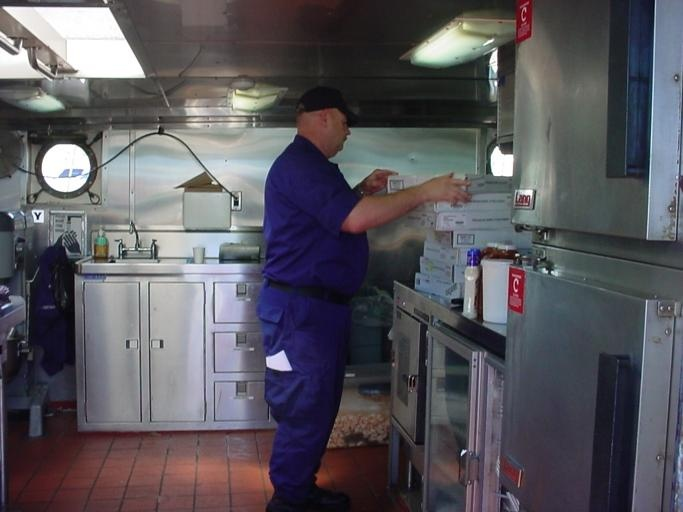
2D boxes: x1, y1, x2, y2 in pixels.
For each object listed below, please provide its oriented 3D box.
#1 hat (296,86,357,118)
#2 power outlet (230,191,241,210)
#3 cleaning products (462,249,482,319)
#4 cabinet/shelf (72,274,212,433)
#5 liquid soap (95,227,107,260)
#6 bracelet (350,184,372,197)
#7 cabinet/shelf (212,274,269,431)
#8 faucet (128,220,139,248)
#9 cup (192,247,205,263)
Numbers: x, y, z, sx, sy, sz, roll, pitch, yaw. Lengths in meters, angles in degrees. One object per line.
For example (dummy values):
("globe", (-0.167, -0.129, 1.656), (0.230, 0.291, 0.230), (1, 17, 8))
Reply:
("hat", (-0.063, -0.716, 2.797), (0.217, 0.114, 0.150), (-5, 13, -12))
("power outlet", (-0.774, -0.406, 4.401), (0.072, 0.140, 0.038), (-2, 13, -12))
("cleaning products", (0.477, 0.097, 2.136), (0.058, 0.220, 0.215), (4, 13, 12))
("cabinet/shelf", (-1.313, 0.603, 3.863), (1.001, 1.248, 0.388), (1, 0, -7))
("liquid soap", (-1.716, -0.089, 4.236), (0.102, 0.177, 0.258), (-4, 14, -21))
("bracelet", (0.090, -0.327, 3.112), (0.102, 0.028, 0.098), (27, -8, 11))
("cabinet/shelf", (-0.755, 0.685, 4.046), (0.475, 0.994, 0.381), (2, -7, -29))
("faucet", (-1.497, -0.152, 4.320), (0.087, 0.198, 0.056), (13, 18, 42))
("cup", (-0.976, -0.006, 4.136), (0.102, 0.122, 0.087), (-5, -5, 38))
